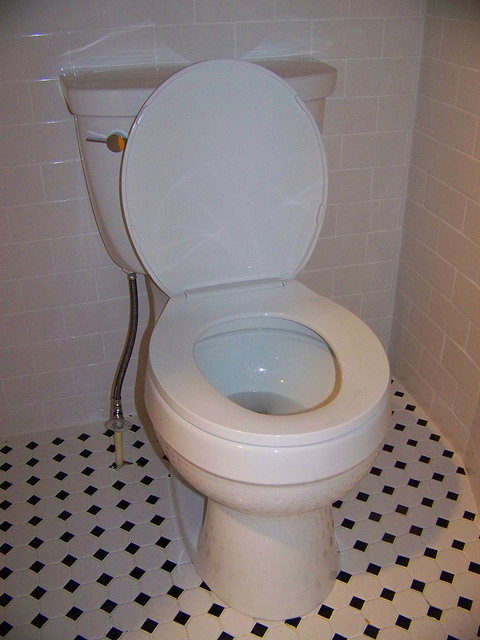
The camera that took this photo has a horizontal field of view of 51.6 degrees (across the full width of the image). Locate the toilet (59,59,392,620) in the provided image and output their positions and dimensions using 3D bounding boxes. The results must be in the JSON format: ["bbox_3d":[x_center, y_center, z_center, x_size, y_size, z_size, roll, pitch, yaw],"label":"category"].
[{"bbox_3d":[0.004,0.018,0.889,0.408,0.857,0.710,-7,24,-12],"label":"toilet"}]
